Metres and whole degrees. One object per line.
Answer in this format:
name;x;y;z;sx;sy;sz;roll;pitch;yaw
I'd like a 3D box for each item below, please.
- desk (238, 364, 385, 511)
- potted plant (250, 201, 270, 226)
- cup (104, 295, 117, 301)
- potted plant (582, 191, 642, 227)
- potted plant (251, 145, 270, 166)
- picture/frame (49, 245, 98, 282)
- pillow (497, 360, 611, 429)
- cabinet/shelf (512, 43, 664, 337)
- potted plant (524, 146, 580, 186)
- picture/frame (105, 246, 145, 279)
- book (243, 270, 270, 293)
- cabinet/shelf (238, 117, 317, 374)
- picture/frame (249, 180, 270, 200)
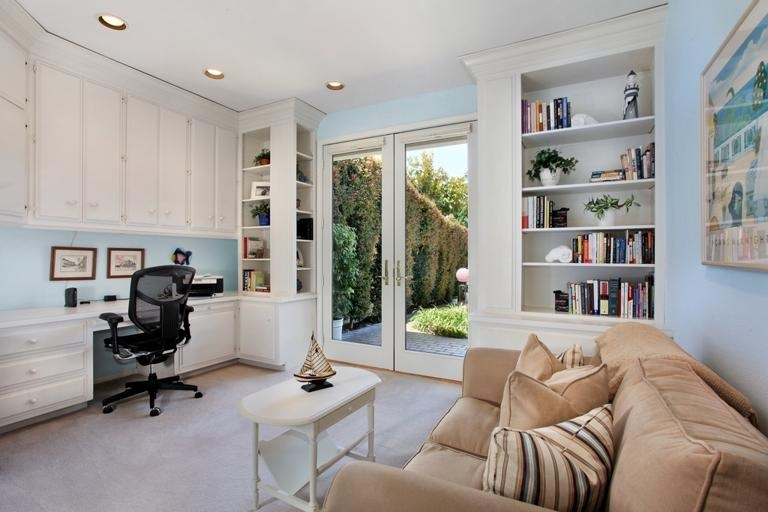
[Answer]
desk;-0.486;1.274;3.636;0.764;0.904;1.368;1;2;28
potted plant;-1.483;-0.537;6.153;0.311;0.292;0.307;1;1;4
cup;-2.801;0.426;5.048;0.098;0.051;0.061;4;-4;-19
potted plant;2.078;-0.436;4.480;0.473;0.293;0.314;-1;0;26
potted plant;-1.499;-1.232;6.155;0.273;0.191;0.269;0;3;7
picture/frame;-3.085;0.065;4.867;0.377;0.362;0.029;1;2;-44
pillow;0.966;0.830;2.878;0.527;0.451;0.286;-9;25;-10
cabinet/shelf;1.907;-0.767;4.539;0.974;1.983;0.243;-15;-3;13
potted plant;1.589;-0.833;4.650;0.404;0.300;0.383;2;7;4
picture/frame;-2.713;0.065;5.138;0.028;0.332;0.353;3;2;34
book;-1.489;0.316;6.028;0.261;0.339;0.348;-3;-4;28
cabinet/shelf;-1.333;-0.227;5.986;1.050;3.006;0.785;9;16;35
picture/frame;-1.506;-0.801;6.015;0.282;0.275;0.022;1;-2;14
